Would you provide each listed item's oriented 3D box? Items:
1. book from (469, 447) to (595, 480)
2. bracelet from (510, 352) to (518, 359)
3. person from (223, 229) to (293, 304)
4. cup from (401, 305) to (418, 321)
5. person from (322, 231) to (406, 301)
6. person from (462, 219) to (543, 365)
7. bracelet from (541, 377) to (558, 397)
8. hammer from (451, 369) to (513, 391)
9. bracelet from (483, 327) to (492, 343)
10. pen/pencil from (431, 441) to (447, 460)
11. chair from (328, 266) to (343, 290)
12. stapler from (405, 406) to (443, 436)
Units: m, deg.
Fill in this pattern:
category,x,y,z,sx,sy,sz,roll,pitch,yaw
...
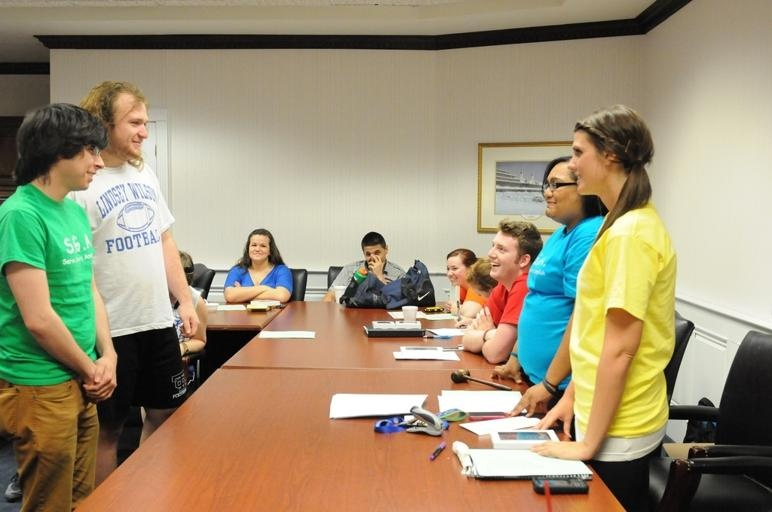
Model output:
category,x,y,z,sx,sy,sz,roll,pitch,yaw
book,0.520,0.778,2.032,0.455,0.057,0.141,2,10,5
bracelet,0.670,0.522,2.866,0.027,0.021,0.028,0,-3,-3
person,-1.213,0.152,5.216,0.594,0.824,0.484,0,-1,-8
cup,0.166,0.403,3.875,0.093,0.103,0.099,0,2,0
person,-0.150,0.219,5.146,0.905,0.833,0.527,1,3,4
person,0.694,0.188,3.159,0.436,0.744,0.470,2,-4,-19
bracelet,0.721,0.584,2.470,0.064,0.024,0.090,18,31,-34
hammer,0.476,0.614,2.717,0.288,0.052,0.108,6,2,34
bracelet,0.596,0.464,3.213,0.031,0.076,0.056,16,2,35
pen/pencil,0.204,0.758,2.131,0.026,0.025,0.101,-5,14,30
chair,-0.553,0.228,5.682,0.199,0.286,0.206,1,-7,-1
stapler,0.163,0.687,2.278,0.150,0.095,0.076,0,-2,28
